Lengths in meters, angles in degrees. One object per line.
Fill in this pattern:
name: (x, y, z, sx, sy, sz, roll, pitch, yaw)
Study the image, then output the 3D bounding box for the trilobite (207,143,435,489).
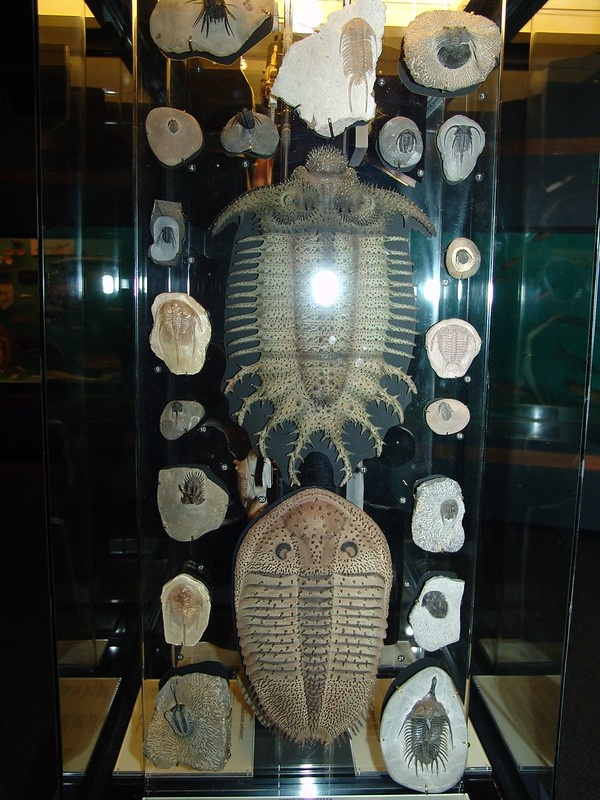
trilobite: (0.047, -0.178, 1.614, 0.463, 0.156, 0.643, 0, -81, -4)
